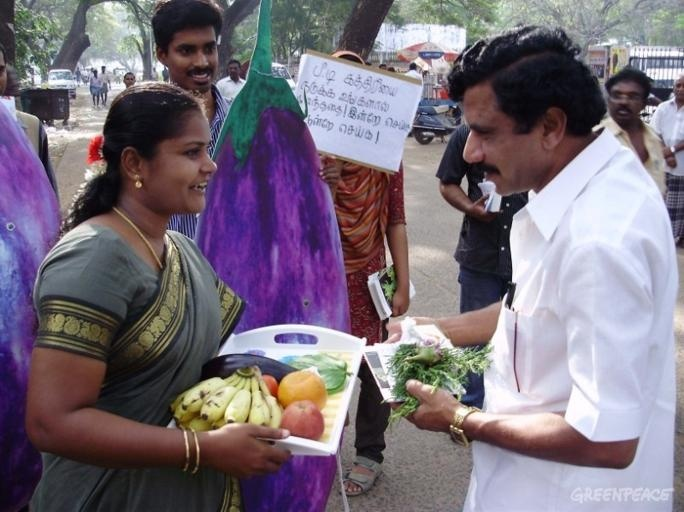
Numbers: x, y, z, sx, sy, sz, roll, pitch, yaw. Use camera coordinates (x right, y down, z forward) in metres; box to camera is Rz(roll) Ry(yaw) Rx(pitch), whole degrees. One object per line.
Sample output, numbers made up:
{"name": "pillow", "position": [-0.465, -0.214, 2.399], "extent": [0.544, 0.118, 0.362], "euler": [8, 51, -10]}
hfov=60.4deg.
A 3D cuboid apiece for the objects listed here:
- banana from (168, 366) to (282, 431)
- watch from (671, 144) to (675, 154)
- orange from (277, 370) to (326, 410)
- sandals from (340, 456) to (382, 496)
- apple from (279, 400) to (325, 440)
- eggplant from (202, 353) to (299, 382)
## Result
{"name": "banana", "position": [-0.405, 0.486, 1.975], "extent": [0.213, 0.146, 0.379], "euler": [3, 14, 25]}
{"name": "watch", "position": [4.310, -1.396, 7.681], "extent": [0.047, 0.083, 0.073], "euler": [0, 11, 14]}
{"name": "orange", "position": [-0.140, 0.467, 2.097], "extent": [0.131, 0.134, 0.128], "euler": [-18, 23, -42]}
{"name": "sandals", "position": [0.128, 1.290, 3.511], "extent": [0.150, 0.155, 0.348], "euler": [0, 8, 24]}
{"name": "apple", "position": [-0.125, 0.550, 1.955], "extent": [0.112, 0.119, 0.116], "euler": [1, 18, -15]}
{"name": "eggplant", "position": [-0.340, 0.410, 2.132], "extent": [0.313, 0.067, 0.331], "euler": [-3, 8, 8]}
